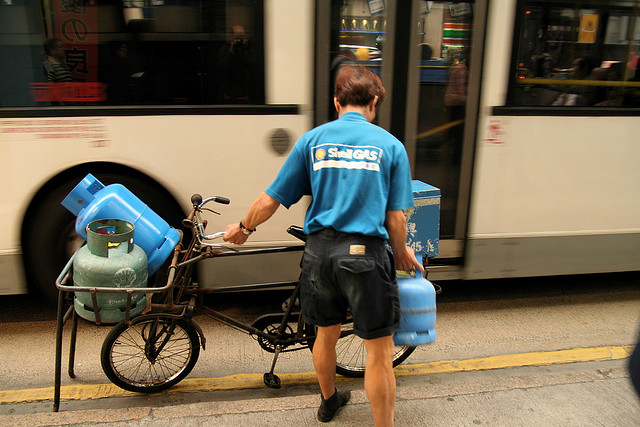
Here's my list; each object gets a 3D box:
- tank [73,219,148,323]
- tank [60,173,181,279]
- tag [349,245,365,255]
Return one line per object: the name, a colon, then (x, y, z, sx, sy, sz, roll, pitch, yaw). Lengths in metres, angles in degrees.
tank: (-1.655, 0.414, 4.271, 0.642, 0.629, 0.590, 4, 19, -14)
tank: (-1.556, -0.046, 4.496, 0.495, 0.755, 0.414, -28, 34, 45)
tag: (0.268, 0.257, 3.851, 0.077, 0.065, 0.020, 4, -8, 5)
